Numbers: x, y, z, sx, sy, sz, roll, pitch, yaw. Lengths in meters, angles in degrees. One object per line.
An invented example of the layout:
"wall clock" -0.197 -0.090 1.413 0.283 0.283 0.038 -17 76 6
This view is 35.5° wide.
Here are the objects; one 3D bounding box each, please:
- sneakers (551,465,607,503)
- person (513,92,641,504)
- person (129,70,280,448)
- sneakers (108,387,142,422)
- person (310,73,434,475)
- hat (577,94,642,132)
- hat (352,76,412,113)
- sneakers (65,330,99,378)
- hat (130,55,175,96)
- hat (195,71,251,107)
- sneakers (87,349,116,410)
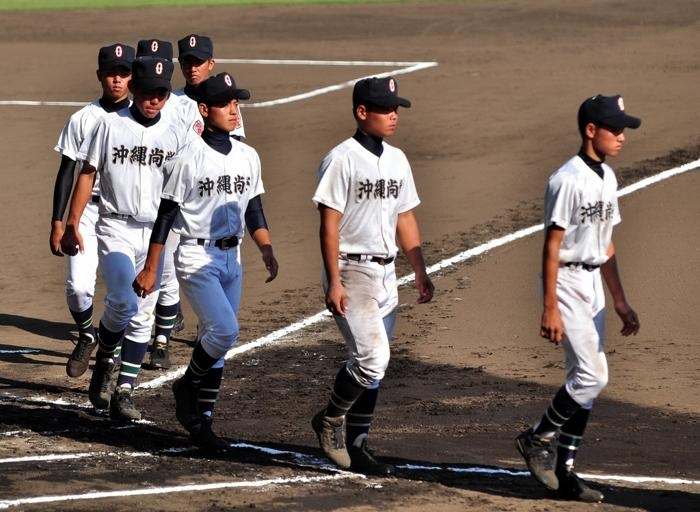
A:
"sneakers" 1.778 1.833 8.759 0.498 0.193 0.168 5 10 33
"person" 1.864 0.329 8.801 0.799 3.171 1.056 7 15 14
"person" -1.180 0.080 9.377 0.813 3.225 1.065 12 17 31
"sneakers" -2.077 1.332 10.078 0.184 0.222 0.536 14 9 -36
"person" 0.151 0.180 8.975 0.916 3.232 0.970 7 15 15
"hat" 2.055 -1.161 8.873 0.553 0.278 0.347 -3 -3 17
"hat" 0.242 -1.345 8.937 0.490 0.235 0.348 6 15 18
"sneakers" -2.733 1.017 11.136 0.223 0.593 0.266 22 -11 -12
"hat" -1.768 -1.658 9.798 0.376 0.254 0.488 -11 33 -42
"hat" -1.098 -1.456 9.304 0.487 0.192 0.368 15 30 42
"sneakers" -2.333 1.180 10.273 0.226 0.578 0.262 2 -13 -21
